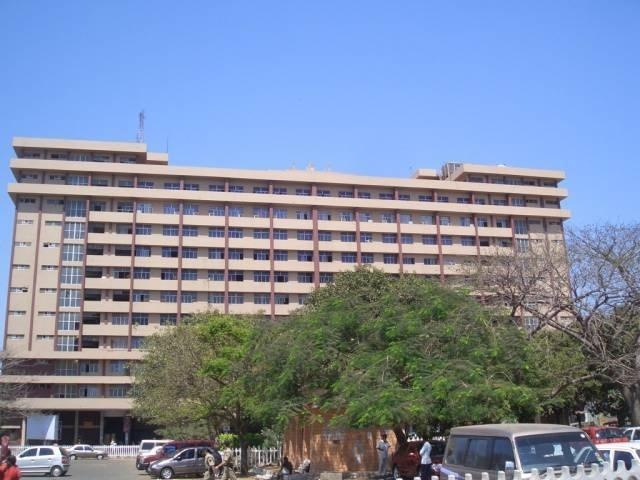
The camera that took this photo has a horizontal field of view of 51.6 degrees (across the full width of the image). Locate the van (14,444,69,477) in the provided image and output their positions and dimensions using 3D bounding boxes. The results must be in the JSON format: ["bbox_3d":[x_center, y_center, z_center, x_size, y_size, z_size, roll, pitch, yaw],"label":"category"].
[{"bbox_3d":[-18.515,14.941,44.388,2.886,2.218,1.436,-10,4,-4],"label":"van"}]

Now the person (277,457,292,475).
[{"bbox_3d":[-1.814,11.665,34.354,0.577,0.794,1.509,-10,3,-7],"label":"person"}]
